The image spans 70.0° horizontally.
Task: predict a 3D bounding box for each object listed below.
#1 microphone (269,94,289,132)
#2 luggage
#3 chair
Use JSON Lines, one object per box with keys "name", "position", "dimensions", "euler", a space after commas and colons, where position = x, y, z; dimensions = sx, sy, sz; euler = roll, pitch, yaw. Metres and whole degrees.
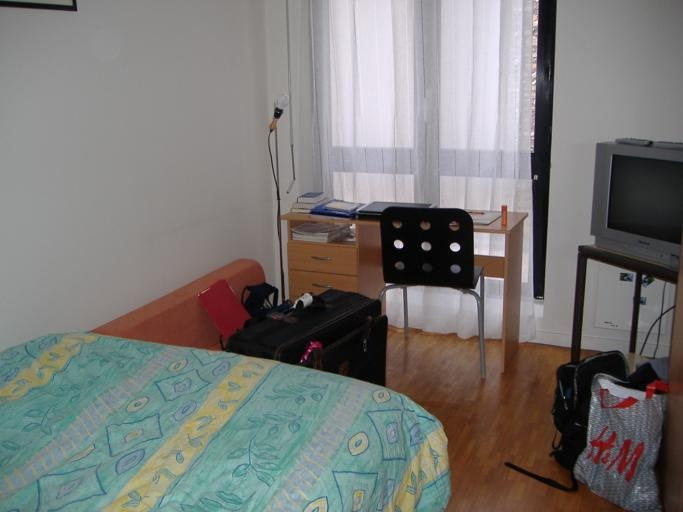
{"name": "microphone", "position": [-0.459, -1.053, 3.597], "dimensions": [0.146, 0.246, 0.426], "euler": [-2, 13, -6]}
{"name": "luggage", "position": [-0.173, 0.269, 2.432], "dimensions": [0.505, 0.498, 0.666], "euler": [5, 13, 29]}
{"name": "chair", "position": [0.594, 0.228, 3.129], "dimensions": [0.770, 1.216, 0.685], "euler": [3, 22, 21]}
